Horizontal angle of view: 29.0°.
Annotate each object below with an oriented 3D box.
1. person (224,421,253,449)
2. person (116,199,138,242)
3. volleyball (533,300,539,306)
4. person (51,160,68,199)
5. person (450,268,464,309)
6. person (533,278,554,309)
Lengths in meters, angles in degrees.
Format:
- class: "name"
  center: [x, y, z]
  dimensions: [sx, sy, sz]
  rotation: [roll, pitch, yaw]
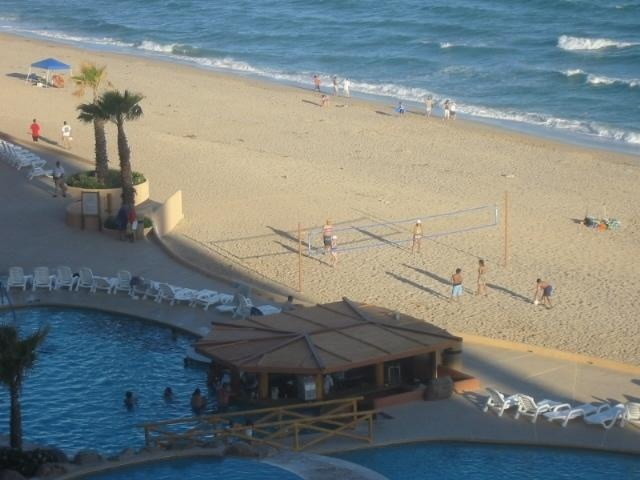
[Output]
- class: "person"
  center: [-2.864, 6.860, 43.389]
  dimensions: [1.003, 0.811, 1.813]
  rotation: [6, 9, -3]
- class: "person"
  center: [-8.605, -0.774, 55.169]
  dimensions: [0.957, 1.539, 0.548]
  rotation: [7, 10, 1]
- class: "volleyball"
  center: [9.038, 2.678, 52.214]
  dimensions: [0.211, 0.105, 0.215]
  rotation: [8, 9, 43]
- class: "person"
  center: [-12.191, -2.913, 58.009]
  dimensions: [0.700, 1.662, 1.487]
  rotation: [4, 10, -13]
- class: "person"
  center: [5.808, 1.863, 52.811]
  dimensions: [0.560, 1.504, 1.850]
  rotation: [8, 10, 6]
- class: "person"
  center: [9.409, 2.249, 52.337]
  dimensions: [0.828, 1.155, 1.138]
  rotation: [8, 10, 9]
